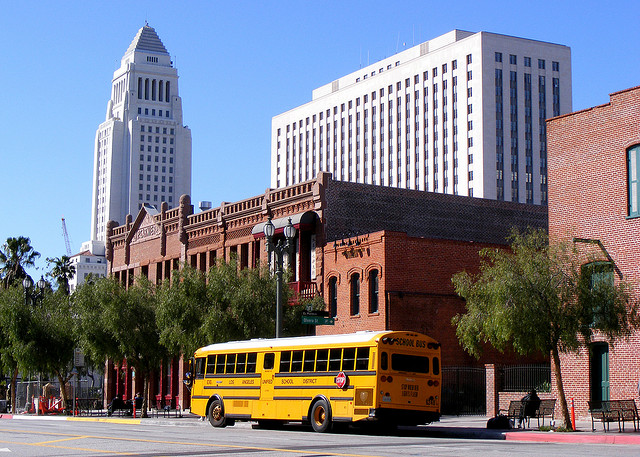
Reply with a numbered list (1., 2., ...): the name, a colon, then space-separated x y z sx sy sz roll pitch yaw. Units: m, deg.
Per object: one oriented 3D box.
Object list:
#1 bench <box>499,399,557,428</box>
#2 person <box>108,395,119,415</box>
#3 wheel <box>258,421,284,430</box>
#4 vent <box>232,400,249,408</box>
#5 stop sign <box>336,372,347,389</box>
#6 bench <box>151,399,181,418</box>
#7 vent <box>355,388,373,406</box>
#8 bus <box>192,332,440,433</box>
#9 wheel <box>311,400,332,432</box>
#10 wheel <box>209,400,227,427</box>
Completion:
1. bench: 9.869 8.684 45.135 2.020 1.120 0.873 -5 7 19
2. person: -13.347 11.545 62.981 0.655 1.405 2.804 2 -17 -12
3. wheel: -2.408 9.775 47.944 1.211 0.566 2.193 -1 -16 -1
4. vent: -3.800 8.512 46.789 0.067 0.447 1.238 13 -21 -42
5. stop sign: 0.961 6.802 43.047 0.086 0.713 0.645 6 -9 -22
6. bench: -10.241 12.180 65.047 0.678 1.226 1.859 -13 -17 43
7. vent: 1.955 7.420 42.322 0.106 0.617 0.695 19 -19 -39
8. bus: -0.704 7.620 46.630 13.316 4.847 3.810 -15 -20 38
9. wheel: 0.092 8.497 43.724 0.397 1.398 1.135 10 -19 -37
10. wheel: -5.103 9.291 48.263 1.070 1.311 0.386 -15 -20 41
